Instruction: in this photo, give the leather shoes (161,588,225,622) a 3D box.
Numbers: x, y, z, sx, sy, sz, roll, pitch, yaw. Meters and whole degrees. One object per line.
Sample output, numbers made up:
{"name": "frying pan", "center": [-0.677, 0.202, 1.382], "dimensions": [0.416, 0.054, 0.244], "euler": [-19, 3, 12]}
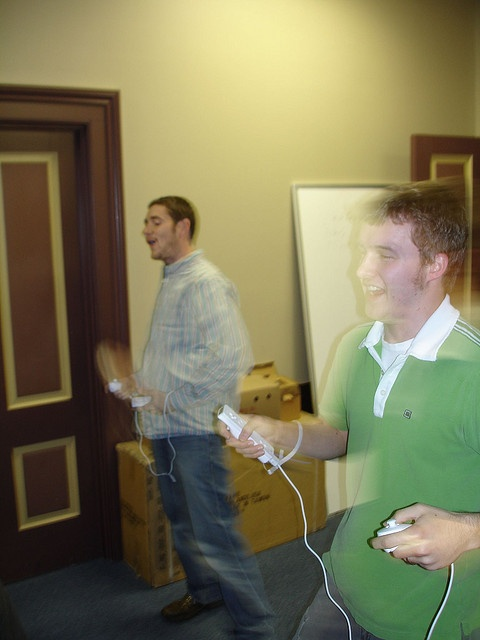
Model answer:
{"name": "leather shoes", "center": [-0.176, 1.056, 2.024], "dimensions": [0.228, 0.089, 0.074], "euler": [1, 3, -25]}
